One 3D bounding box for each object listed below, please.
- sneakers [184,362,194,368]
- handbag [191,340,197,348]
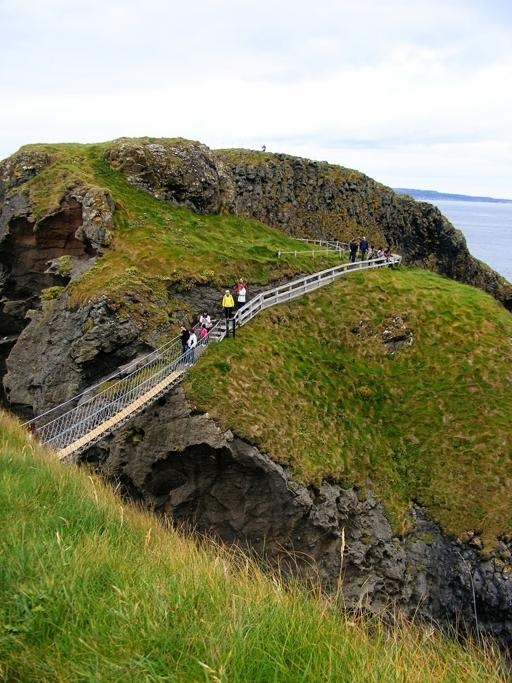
[{"bbox_3d":[-2.466,0.879,24.387,0.203,0.175,0.485,8,5,24],"label":"sneakers"},{"bbox_3d":[-2.287,0.101,24.513,0.149,0.269,0.205,10,8,18],"label":"handbag"}]
